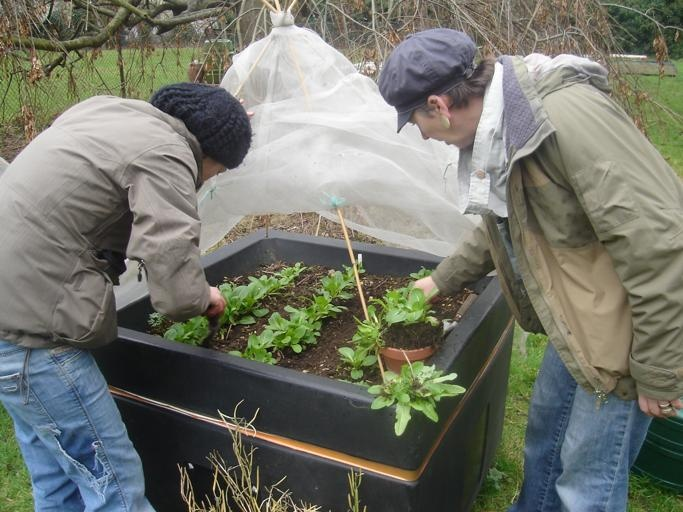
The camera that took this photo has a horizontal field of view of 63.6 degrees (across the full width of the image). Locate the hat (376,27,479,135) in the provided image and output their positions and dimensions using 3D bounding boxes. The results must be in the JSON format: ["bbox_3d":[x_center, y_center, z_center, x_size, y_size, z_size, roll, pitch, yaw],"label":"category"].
[{"bbox_3d":[0.288,-0.656,2.000,0.392,0.232,0.289,-31,14,14],"label":"hat"}]

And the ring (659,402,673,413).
[{"bbox_3d":[1.088,0.508,1.859,0.026,0.035,0.023,-36,13,-32],"label":"ring"}]

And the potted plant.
[{"bbox_3d":[0.266,0.283,2.338,0.268,0.344,0.321,-2,8,-2],"label":"potted plant"}]
